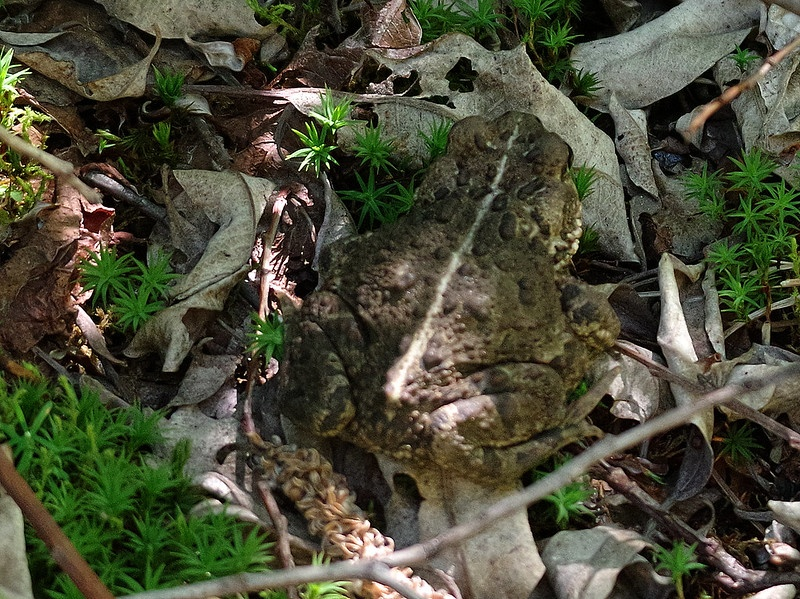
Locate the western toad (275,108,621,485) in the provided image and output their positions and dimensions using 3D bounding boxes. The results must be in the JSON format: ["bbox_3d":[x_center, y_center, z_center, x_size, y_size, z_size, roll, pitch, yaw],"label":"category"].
[{"bbox_3d":[0.257,-0.076,3.288,1.593,0.537,1.522,22,66,13],"label":"western toad"}]
